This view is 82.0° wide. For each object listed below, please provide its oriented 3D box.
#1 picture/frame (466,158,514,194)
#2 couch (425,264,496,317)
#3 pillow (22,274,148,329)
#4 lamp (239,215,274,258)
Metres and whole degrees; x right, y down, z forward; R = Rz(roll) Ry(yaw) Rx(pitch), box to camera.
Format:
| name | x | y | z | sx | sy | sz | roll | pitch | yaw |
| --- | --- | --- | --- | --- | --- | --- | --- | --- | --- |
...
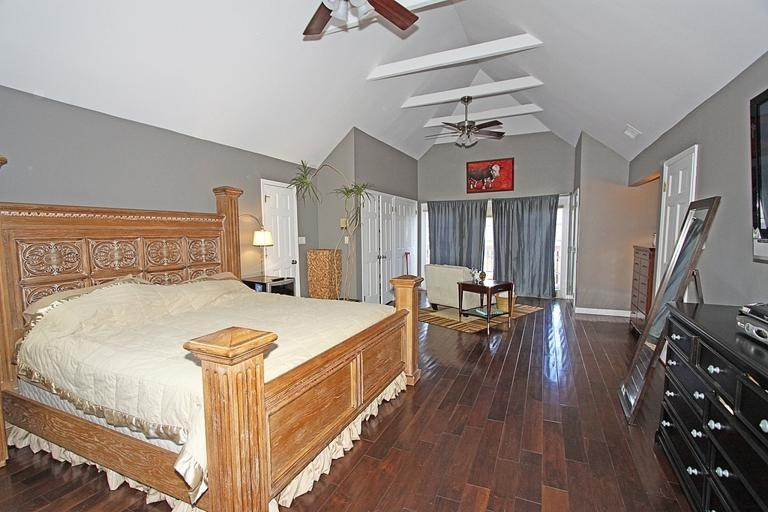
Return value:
| name | x | y | z | sx | sy | sz | roll | pitch | yaw |
| --- | --- | --- | --- | --- | --- | --- | --- | --- | --- |
| picture/frame | 2.214 | -1.650 | 9.016 | 0.762 | 0.536 | 0.034 | 2 | 6 | 26 |
| couch | 1.044 | 0.511 | 7.312 | 1.025 | 0.759 | 1.006 | 1 | -3 | -24 |
| pillow | -2.808 | 0.390 | 4.062 | 0.408 | 0.186 | 0.674 | 14 | 15 | 29 |
| lamp | -1.783 | -0.287 | 5.776 | 0.629 | 0.552 | 0.232 | 3 | -4 | -41 |
